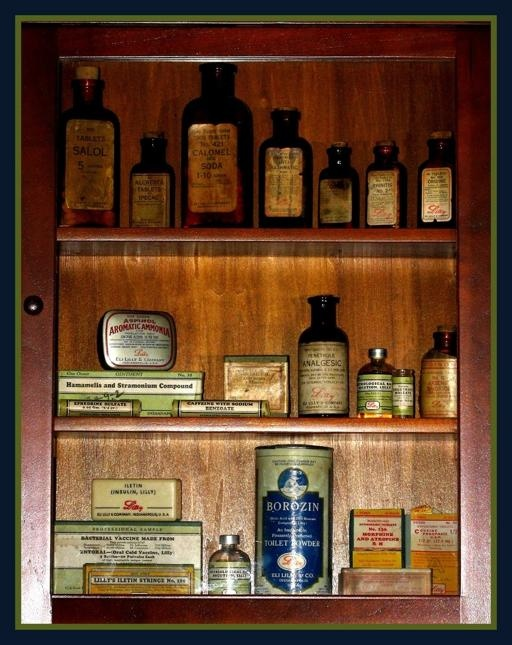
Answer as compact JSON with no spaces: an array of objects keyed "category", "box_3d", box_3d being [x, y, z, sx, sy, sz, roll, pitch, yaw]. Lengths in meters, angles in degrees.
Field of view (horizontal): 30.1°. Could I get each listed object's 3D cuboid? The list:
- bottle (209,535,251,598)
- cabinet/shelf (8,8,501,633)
[{"category":"bottle","box_3d":[-0.036,0.311,1.225,0.058,0.071,0.090,-1,-11,-2]},{"category":"cabinet/shelf","box_3d":[0.008,0.001,1.291,0.623,0.778,0.242,-1,-11,-1]}]
